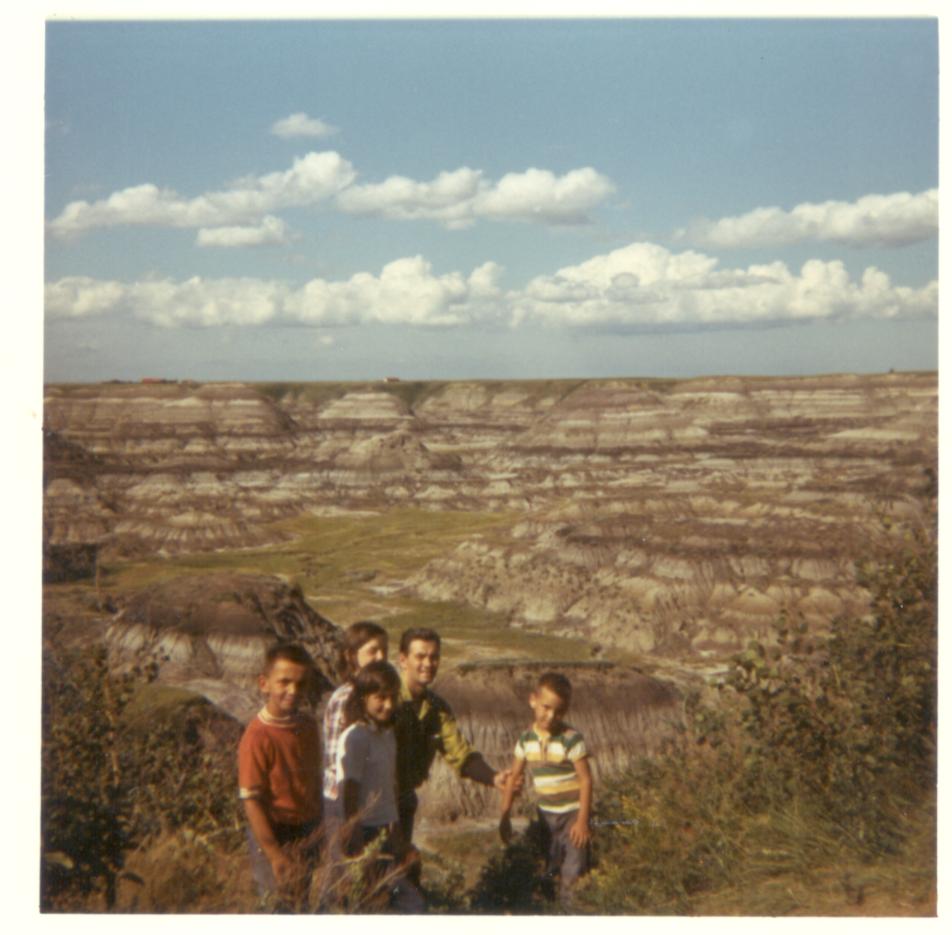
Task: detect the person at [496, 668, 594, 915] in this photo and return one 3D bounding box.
[{"bbox_3d":[0.741,3.348,9.727,0.950,2.448,0.797,0,6,-5],"label":"person"}]

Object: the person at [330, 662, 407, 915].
[{"bbox_3d":[-1.014,3.114,9.219,0.724,2.562,0.428,0,6,-12],"label":"person"}]
